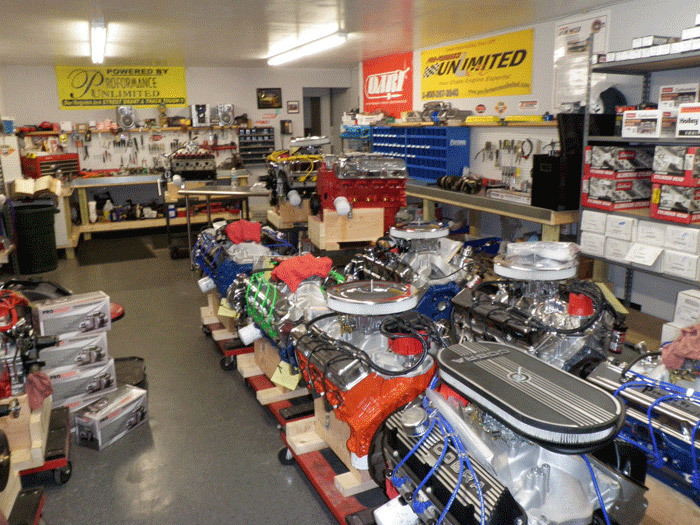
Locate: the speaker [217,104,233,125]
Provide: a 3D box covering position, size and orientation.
[{"bbox_3d":[-2.552,-3.058,9.893,0.297,0.421,0.206,-6,18,-9],"label":"speaker"}]

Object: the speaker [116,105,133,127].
[{"bbox_3d":[-4.433,-2.867,9.436,0.347,0.420,0.257,-5,17,-4],"label":"speaker"}]

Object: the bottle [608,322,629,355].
[{"bbox_3d":[1.452,0.399,2.611,0.071,0.224,0.246,7,20,31],"label":"bottle"}]

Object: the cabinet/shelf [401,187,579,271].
[{"bbox_3d":[1.592,-0.594,5.792,0.287,0.491,2.365,-12,18,-24],"label":"cabinet/shelf"}]

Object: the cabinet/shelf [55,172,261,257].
[{"bbox_3d":[-3.437,-0.887,8.227,2.716,1.163,4.736,-12,19,-29],"label":"cabinet/shelf"}]

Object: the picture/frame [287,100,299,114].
[{"bbox_3d":[-1.292,-3.515,10.715,0.328,0.318,0.025,1,5,-12],"label":"picture/frame"}]

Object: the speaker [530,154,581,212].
[{"bbox_3d":[2.115,-0.842,4.882,0.490,0.540,0.370,-8,17,-21],"label":"speaker"}]
